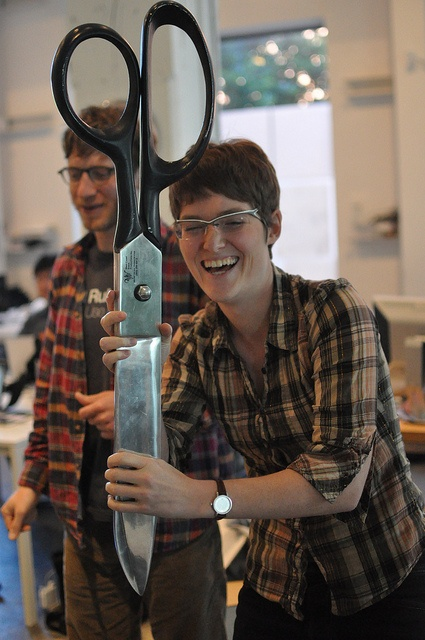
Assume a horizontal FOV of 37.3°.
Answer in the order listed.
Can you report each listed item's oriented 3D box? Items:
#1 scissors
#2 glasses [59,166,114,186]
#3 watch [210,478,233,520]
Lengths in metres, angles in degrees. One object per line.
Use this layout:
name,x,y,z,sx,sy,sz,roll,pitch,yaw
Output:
scissors,-0.067,-0.034,0.698,0.218,0.618,0.069,-4,2,1
glasses,-0.244,-0.296,1.294,0.092,0.026,0.090,-1,3,6
watch,0.009,0.220,0.759,0.026,0.039,0.039,-2,6,-11
